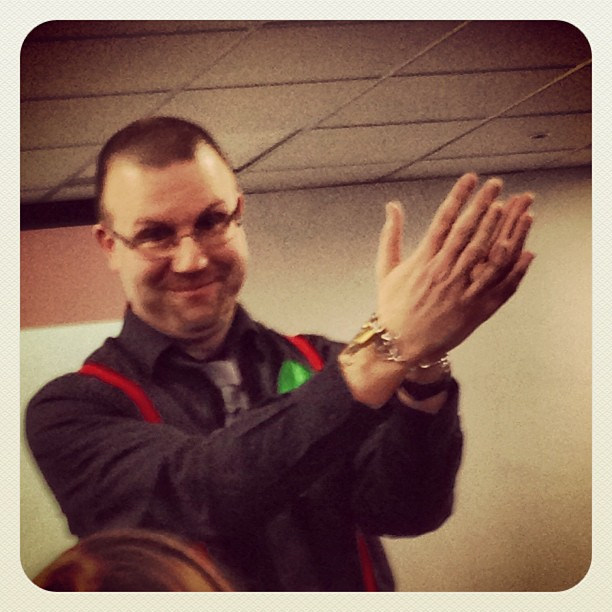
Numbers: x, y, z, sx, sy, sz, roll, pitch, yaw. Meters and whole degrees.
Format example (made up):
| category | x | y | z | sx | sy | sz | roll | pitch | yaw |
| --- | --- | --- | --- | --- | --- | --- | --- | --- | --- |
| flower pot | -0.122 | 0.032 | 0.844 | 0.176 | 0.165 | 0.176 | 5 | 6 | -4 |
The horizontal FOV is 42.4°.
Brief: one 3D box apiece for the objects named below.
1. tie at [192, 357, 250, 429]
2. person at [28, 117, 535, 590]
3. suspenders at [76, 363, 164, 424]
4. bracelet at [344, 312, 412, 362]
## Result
| category | x | y | z | sx | sy | sz | roll | pitch | yaw |
| --- | --- | --- | --- | --- | --- | --- | --- | --- | --- |
| tie | -0.181 | 0.170 | 1.729 | 0.060 | 0.192 | 0.064 | -19 | 2 | -26 |
| person | -0.079 | 0.102 | 1.639 | 1.000 | 1.001 | 0.323 | -1 | 0 | 11 |
| suspenders | -0.371 | 0.155 | 1.677 | 0.191 | 0.108 | 0.196 | -9 | 17 | -38 |
| bracelet | 0.134 | 0.059 | 1.506 | 0.125 | 0.090 | 0.044 | -1 | 0 | 1 |
